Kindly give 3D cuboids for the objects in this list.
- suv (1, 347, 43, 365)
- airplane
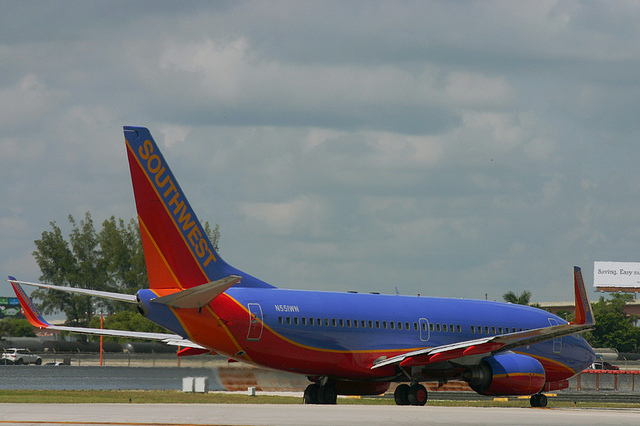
[{"bbox_3d":[-24.608,11.791,111.252,2.986,1.042,1.438,0,6,-21],"label":"suv"},{"bbox_3d":[-0.461,3.831,81.299,33.000,17.497,22.143,-3,-5,-18],"label":"airplane"}]
